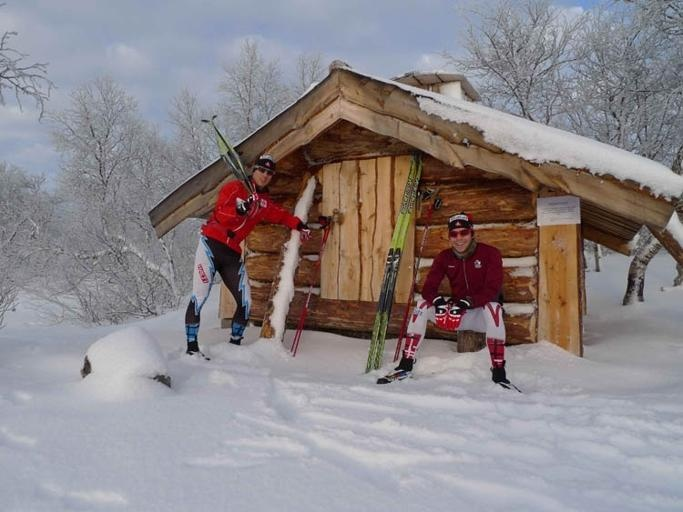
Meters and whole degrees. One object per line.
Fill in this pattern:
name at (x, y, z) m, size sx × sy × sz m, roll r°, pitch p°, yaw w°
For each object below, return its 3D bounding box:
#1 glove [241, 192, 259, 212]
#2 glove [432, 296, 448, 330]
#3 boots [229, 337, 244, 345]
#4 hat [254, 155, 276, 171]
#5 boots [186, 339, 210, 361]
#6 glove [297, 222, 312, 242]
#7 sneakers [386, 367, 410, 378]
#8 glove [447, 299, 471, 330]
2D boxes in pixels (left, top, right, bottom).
glove at (-1.046, -0.617, 6.554) m, size 0.166 × 0.302 × 0.334 m, roll 5°, pitch -7°, yaw -3°
glove at (1.057, 0.585, 6.035) m, size 0.185 × 0.287 × 0.081 m, roll -11°, pitch -12°, yaw 21°
boots at (-1.197, 0.980, 6.509) m, size 0.101 × 0.097 × 0.119 m, roll 1°, pitch -23°, yaw -6°
hat at (-0.877, -1.062, 6.574) m, size 0.185 × 0.174 × 0.227 m, roll 4°, pitch 0°, yaw -18°
boots at (-1.495, 0.993, 6.029) m, size 0.202 × 0.191 × 0.301 m, roll 9°, pitch -9°, yaw -34°
glove at (-0.424, -0.304, 7.137) m, size 0.094 × 0.209 × 0.167 m, roll -23°, pitch 23°, yaw -13°
sneakers at (0.600, 1.186, 5.809) m, size 0.280 × 0.101 × 0.132 m, roll 5°, pitch -7°, yaw -10°
glove at (1.201, 0.596, 5.962) m, size 0.137 × 0.303 × 0.309 m, roll 24°, pitch -10°, yaw -35°
